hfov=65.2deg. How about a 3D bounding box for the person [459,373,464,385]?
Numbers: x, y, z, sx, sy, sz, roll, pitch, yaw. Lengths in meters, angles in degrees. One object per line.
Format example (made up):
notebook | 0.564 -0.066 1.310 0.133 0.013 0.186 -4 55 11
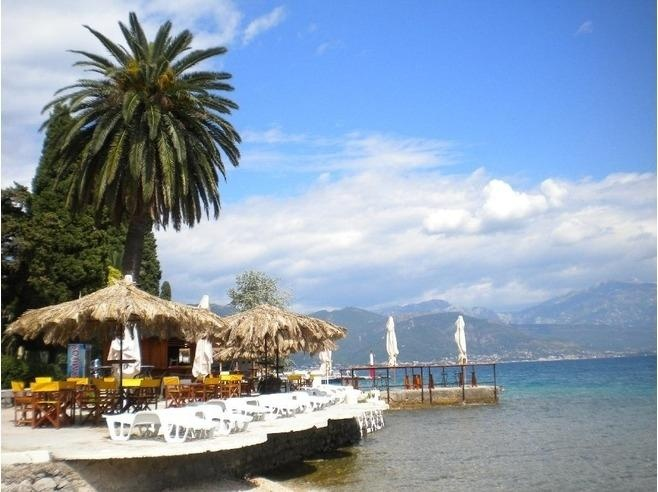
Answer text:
person | 10.026 10.030 38.947 0.403 0.884 1.324 -6 -11 11

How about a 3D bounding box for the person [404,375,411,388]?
person | 5.839 10.138 38.598 0.439 0.937 1.469 -6 -11 11
